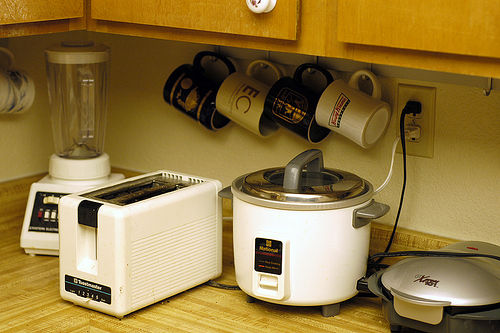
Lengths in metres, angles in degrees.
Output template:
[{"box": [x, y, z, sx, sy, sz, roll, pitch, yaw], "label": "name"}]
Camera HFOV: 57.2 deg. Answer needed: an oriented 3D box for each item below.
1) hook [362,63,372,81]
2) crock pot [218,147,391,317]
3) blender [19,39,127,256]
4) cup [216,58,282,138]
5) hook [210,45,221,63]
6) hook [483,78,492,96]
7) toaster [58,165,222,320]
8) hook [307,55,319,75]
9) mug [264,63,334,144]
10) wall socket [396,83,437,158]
[{"box": [0.319, -0.254, 1.244, 0.031, 0.041, 0.014, 8, -2, -21], "label": "hook"}, {"box": [0.129, 0.152, 1.172, 0.421, 0.379, 0.344, 9, 16, 36], "label": "crock pot"}, {"box": [-0.567, -0.096, 1.419, 0.204, 0.743, 0.316, 2, 10, 6], "label": "blender"}, {"box": [0.002, -0.192, 1.427, 0.174, 0.267, 0.158, 10, -7, 1], "label": "cup"}, {"box": [-0.118, -0.359, 1.465, 0.030, 0.048, 0.043, 6, -5, -14], "label": "hook"}, {"box": [0.584, -0.194, 1.128, 0.017, 0.045, 0.017, 10, 18, 28], "label": "hook"}, {"box": [-0.277, 0.195, 1.247, 0.218, 0.299, 0.391, 7, 12, 34], "label": "toaster"}, {"box": [0.178, -0.288, 1.311, 0.027, 0.048, 0.019, 4, 2, -29], "label": "hook"}, {"box": [0.131, -0.158, 1.348, 0.159, 0.248, 0.153, 30, -6, 9], "label": "mug"}, {"box": [0.443, -0.120, 1.225, 0.110, 0.192, 0.015, 7, 16, 17], "label": "wall socket"}]
